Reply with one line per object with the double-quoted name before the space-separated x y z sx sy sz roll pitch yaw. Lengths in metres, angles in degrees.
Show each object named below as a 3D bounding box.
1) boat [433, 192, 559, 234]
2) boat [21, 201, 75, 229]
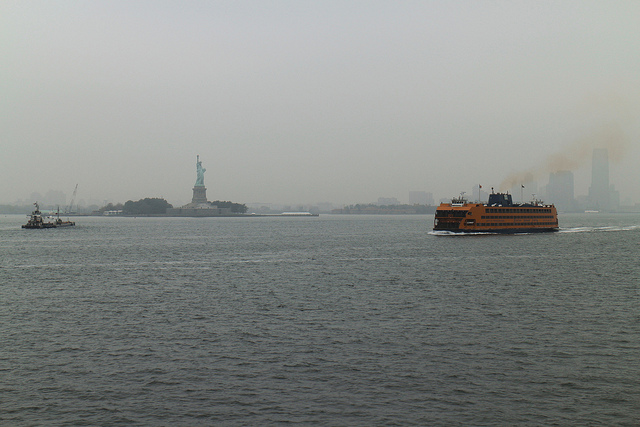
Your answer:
"boat" 32.920 0.506 175.342 13.133 6.963 30.703 -3 -4 37
"boat" -66.509 0.670 227.828 14.019 4.901 4.138 -1 24 -45
